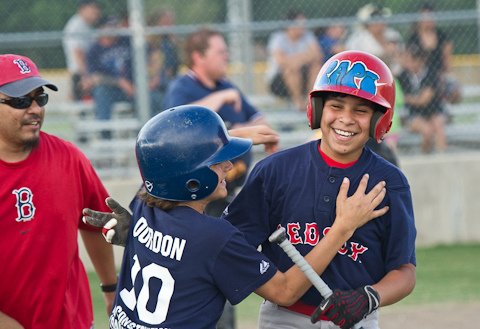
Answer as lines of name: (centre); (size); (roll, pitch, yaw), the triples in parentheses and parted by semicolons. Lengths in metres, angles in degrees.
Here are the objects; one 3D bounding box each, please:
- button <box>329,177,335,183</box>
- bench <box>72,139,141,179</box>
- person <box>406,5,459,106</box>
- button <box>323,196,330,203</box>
button: (0.716, 0.126, 6.064); (0.044, 0.039, 0.018); (-1, 8, -10)
bench: (-1.581, -0.093, 9.578); (0.795, 0.645, 0.199); (-2, 16, -3)
person: (2.426, -1.368, 9.829); (0.493, 1.247, 1.068); (5, 9, 30)
button: (0.672, 0.279, 6.048); (0.044, 0.051, 0.014); (-9, 0, -1)
